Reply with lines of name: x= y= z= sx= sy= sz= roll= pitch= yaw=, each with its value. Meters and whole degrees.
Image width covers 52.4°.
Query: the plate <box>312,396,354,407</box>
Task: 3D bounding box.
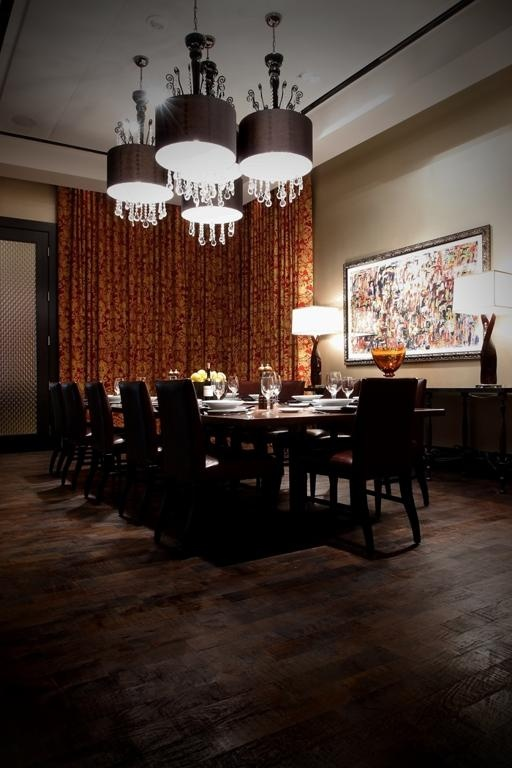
plate: x=0.389 y=0.090 z=2.472 sx=0.174 sy=0.038 sz=0.335 roll=-1 pitch=-2 yaw=27

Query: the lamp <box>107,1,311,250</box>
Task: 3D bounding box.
lamp: x=-0.320 y=-1.875 z=3.676 sx=0.943 sy=1.017 sz=1.292 roll=-4 pitch=4 yaw=-35

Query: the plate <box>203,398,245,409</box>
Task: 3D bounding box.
plate: x=-0.155 y=0.095 z=2.316 sx=0.148 sy=0.043 sz=0.189 roll=0 pitch=-2 yaw=-11

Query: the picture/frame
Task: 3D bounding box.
picture/frame: x=1.405 y=-0.758 z=4.419 sx=0.052 sy=0.974 sz=1.308 roll=3 pitch=-6 yaw=-27

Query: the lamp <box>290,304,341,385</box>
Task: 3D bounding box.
lamp: x=0.629 y=-0.410 z=5.293 sx=0.492 sy=0.929 sz=0.836 roll=-1 pitch=-2 yaw=8

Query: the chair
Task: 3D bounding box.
chair: x=-0.123 y=0.337 z=2.691 sx=1.181 sy=0.729 sz=1.906 roll=1 pitch=-3 yaw=-40
